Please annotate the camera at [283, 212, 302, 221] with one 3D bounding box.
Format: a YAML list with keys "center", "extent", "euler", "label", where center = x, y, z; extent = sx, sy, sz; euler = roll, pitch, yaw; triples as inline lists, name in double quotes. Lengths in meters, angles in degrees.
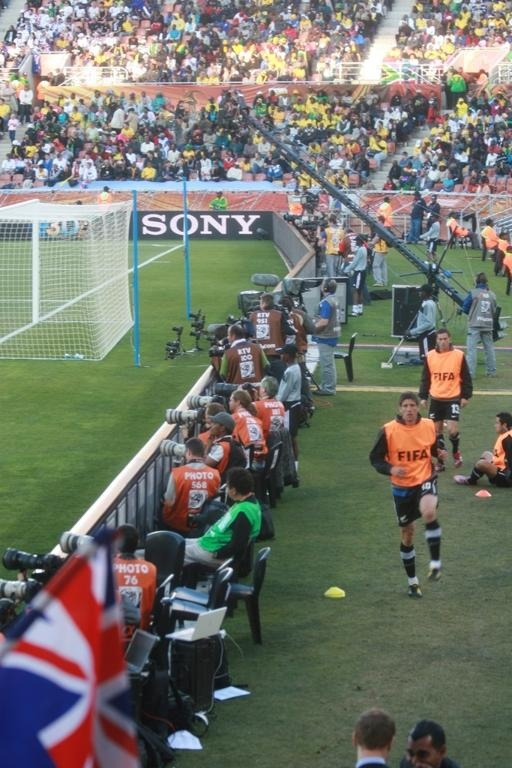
- center: [1.005, -4.585, 31.756]
  extent: [0.429, 0.194, 0.556]
  euler: [1, 0, 3]
  label: "camera"

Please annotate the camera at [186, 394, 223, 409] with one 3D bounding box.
- center: [-0.467, 0.164, 10.455]
  extent: [0.321, 0.116, 0.145]
  euler: [0, 7, 8]
  label: "camera"

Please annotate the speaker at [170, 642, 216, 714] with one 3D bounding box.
- center: [-0.357, 1.667, 6.544]
  extent: [0.317, 0.273, 0.343]
  euler: [-12, 25, -36]
  label: "speaker"

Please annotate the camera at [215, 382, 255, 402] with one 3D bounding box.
- center: [-0.200, 0.080, 11.490]
  extent: [0.417, 0.153, 0.164]
  euler: [4, 6, 16]
  label: "camera"

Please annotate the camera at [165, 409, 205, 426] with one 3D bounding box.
- center: [-0.609, 0.284, 9.935]
  extent: [0.313, 0.123, 0.127]
  euler: [0, -4, 13]
  label: "camera"

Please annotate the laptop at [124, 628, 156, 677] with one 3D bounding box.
- center: [-0.586, 1.379, 5.963]
  extent: [0.159, 0.220, 0.227]
  euler: [-2, 12, -7]
  label: "laptop"

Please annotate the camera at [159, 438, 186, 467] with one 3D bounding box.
- center: [-0.657, 0.527, 9.156]
  extent: [0.161, 0.113, 0.394]
  euler: [12, -7, -5]
  label: "camera"

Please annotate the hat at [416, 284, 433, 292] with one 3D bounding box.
- center: [2.458, -1.394, 16.997]
  extent: [0.201, 0.092, 0.138]
  euler: [10, 11, 17]
  label: "hat"

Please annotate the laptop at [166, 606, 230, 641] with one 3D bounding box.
- center: [-0.356, 1.379, 6.700]
  extent: [0.196, 0.195, 0.295]
  euler: [21, 11, 34]
  label: "laptop"

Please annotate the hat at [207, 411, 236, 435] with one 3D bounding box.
- center: [-0.278, 0.331, 9.556]
  extent: [0.197, 0.177, 0.185]
  euler: [-1, 12, -3]
  label: "hat"

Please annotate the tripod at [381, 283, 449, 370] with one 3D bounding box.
- center: [2.376, -0.826, 17.504]
  extent: [0.792, 1.324, 0.863]
  euler: [-10, 21, -13]
  label: "tripod"

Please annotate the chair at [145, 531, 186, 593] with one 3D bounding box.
- center: [-0.567, 1.130, 7.414]
  extent: [0.279, 0.306, 0.267]
  euler: [5, 17, 9]
  label: "chair"
